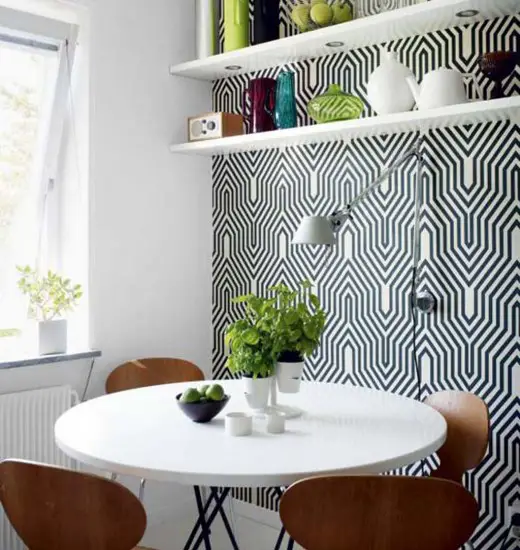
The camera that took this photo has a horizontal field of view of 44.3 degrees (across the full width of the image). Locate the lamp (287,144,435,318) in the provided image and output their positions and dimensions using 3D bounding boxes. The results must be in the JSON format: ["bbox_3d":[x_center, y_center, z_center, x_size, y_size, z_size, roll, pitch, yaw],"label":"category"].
[{"bbox_3d":[0.393,-0.166,2.370,0.491,0.673,0.163,2,29,16],"label":"lamp"}]

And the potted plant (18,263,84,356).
[{"bbox_3d":[-0.922,0.145,2.808,0.278,0.372,0.334,-1,2,-23],"label":"potted plant"}]

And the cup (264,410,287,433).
[{"bbox_3d":[0.045,0.420,1.826,0.055,0.055,0.053,-1,2,0],"label":"cup"}]

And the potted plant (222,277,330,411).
[{"bbox_3d":[0.076,0.216,2.177,0.341,0.560,0.394,2,-1,-40],"label":"potted plant"}]

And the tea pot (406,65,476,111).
[{"bbox_3d":[0.657,-0.663,2.306,0.236,0.165,0.236,-1,2,0],"label":"tea pot"}]
